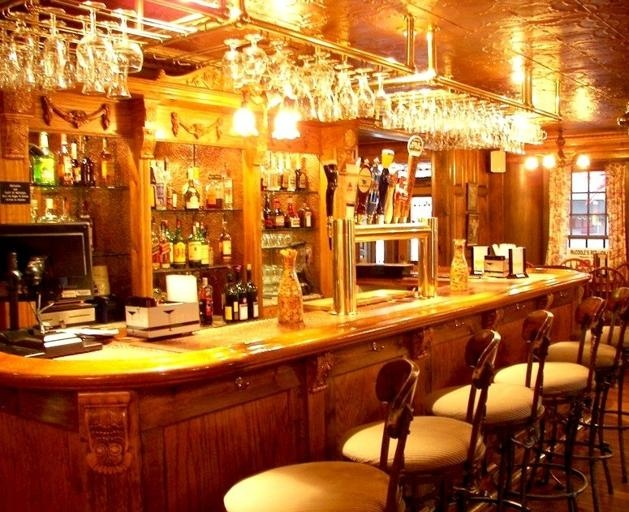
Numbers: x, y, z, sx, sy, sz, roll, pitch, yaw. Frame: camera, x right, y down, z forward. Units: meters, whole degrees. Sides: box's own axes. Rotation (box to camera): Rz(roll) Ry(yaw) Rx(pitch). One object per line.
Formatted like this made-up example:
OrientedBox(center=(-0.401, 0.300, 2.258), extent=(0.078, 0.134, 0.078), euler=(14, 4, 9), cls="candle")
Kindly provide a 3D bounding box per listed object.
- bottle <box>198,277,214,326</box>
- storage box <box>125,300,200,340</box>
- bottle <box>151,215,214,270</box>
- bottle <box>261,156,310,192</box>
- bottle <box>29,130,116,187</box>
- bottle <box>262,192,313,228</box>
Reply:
OrientedBox(center=(-0.946, 0.391, 4.688), extent=(0.107, 0.411, 0.287), euler=(-4, 4, -12), cls="bottle")
OrientedBox(center=(-0.729, 0.306, 2.595), extent=(0.327, 0.163, 0.192), euler=(-4, 4, -23), cls="storage box")
OrientedBox(center=(-1.144, -0.099, 4.773), extent=(0.202, 0.435, 0.696), euler=(1, 6, 45), cls="bottle")
OrientedBox(center=(-0.319, -0.864, 5.644), extent=(0.140, 0.451, 0.449), euler=(2, 2, 43), cls="bottle")
OrientedBox(center=(-1.842, -0.734, 4.124), extent=(0.189, 0.418, 0.651), euler=(1, 6, 45), cls="bottle")
OrientedBox(center=(-0.297, -0.479, 5.655), extent=(0.115, 0.246, 0.404), euler=(-6, -4, 43), cls="bottle")
